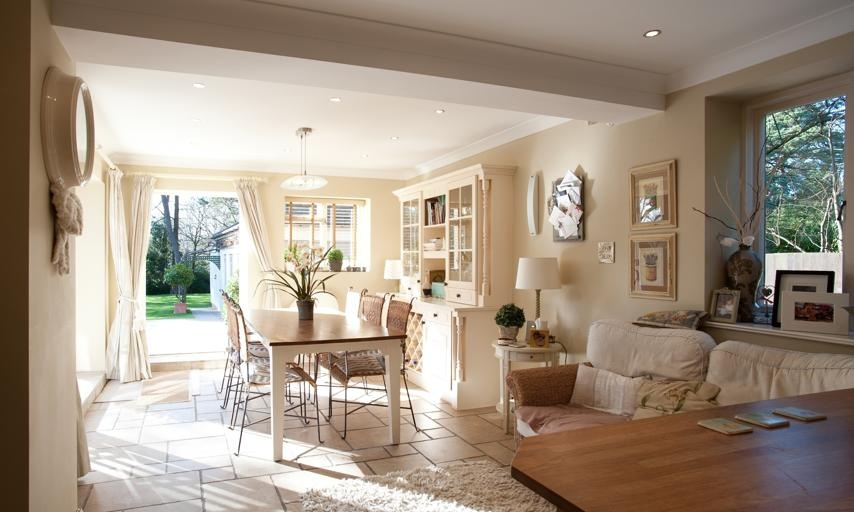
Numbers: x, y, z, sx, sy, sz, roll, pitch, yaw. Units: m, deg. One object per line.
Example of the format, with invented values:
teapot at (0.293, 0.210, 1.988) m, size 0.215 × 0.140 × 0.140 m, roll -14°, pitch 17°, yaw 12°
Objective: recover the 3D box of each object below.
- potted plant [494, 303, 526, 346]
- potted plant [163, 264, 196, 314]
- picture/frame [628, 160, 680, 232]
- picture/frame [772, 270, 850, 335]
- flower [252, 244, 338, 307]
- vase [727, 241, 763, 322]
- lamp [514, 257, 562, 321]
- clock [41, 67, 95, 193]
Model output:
potted plant at (0.854, 0.737, 5.646) m, size 0.360 × 0.360 × 0.364 m, roll 10°, pitch -8°, yaw -33°
potted plant at (-6.734, 0.869, 14.407) m, size 0.672 × 1.264 × 1.264 m, roll -3°, pitch 8°, yaw -26°
picture/frame at (2.094, -0.562, 4.893) m, size 0.118 × 0.632 × 0.471 m, roll -5°, pitch 9°, yaw -33°
picture/frame at (2.996, 0.372, 4.093) m, size 0.210 × 0.473 × 0.541 m, roll 5°, pitch -6°, yaw -39°
flower at (-1.432, 0.374, 6.212) m, size 0.765 × 0.424 × 0.694 m, roll 1°, pitch -4°, yaw 32°
vase at (2.683, 0.228, 4.490) m, size 0.243 × 0.656 × 0.176 m, roll 4°, pitch 9°, yaw 28°
lamp at (1.185, 0.350, 5.609) m, size 0.429 × 0.687 × 0.494 m, roll 2°, pitch 7°, yaw 13°
clock at (-2.452, -0.873, 3.625) m, size 0.204 × 0.801 × 0.520 m, roll -3°, pitch 8°, yaw -20°
